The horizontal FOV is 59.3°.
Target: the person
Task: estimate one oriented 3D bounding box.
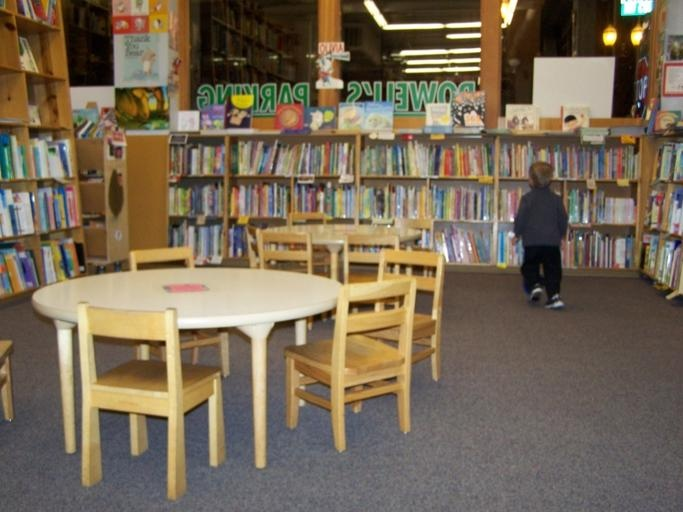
[{"bbox_3d":[1.871,-0.211,5.534,0.402,1.292,0.529,-8,12,-43],"label":"person"}]

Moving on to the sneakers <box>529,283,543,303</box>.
[{"bbox_3d":[1.786,0.351,5.527,0.080,0.112,0.240,-1,-5,5],"label":"sneakers"}]

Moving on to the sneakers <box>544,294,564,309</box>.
[{"bbox_3d":[1.901,0.406,5.294,0.078,0.094,0.185,-1,6,7],"label":"sneakers"}]

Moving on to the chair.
[{"bbox_3d":[-0.705,0.375,2.755,1.127,0.700,0.961,2,6,14],"label":"chair"}]
